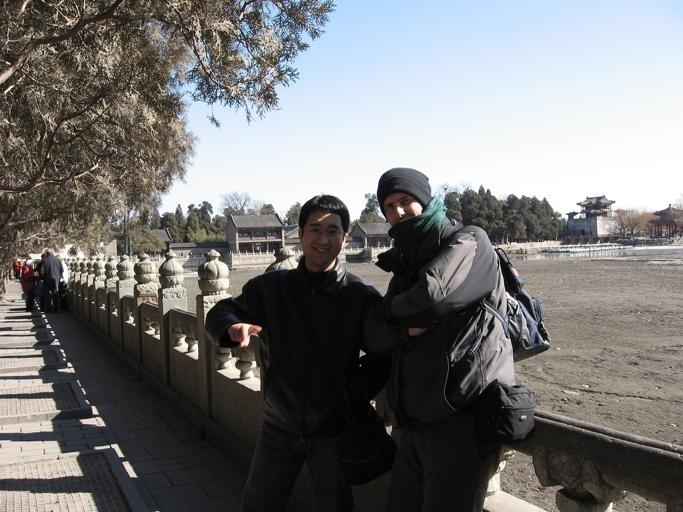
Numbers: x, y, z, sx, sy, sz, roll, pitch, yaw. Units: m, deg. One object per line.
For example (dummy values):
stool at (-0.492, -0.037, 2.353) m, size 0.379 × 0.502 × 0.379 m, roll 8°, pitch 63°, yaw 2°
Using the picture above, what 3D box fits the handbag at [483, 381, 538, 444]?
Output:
handbag at (0.765, 0.715, 2.300) m, size 0.245 × 0.267 × 0.184 m, roll 6°, pitch -3°, yaw -32°
